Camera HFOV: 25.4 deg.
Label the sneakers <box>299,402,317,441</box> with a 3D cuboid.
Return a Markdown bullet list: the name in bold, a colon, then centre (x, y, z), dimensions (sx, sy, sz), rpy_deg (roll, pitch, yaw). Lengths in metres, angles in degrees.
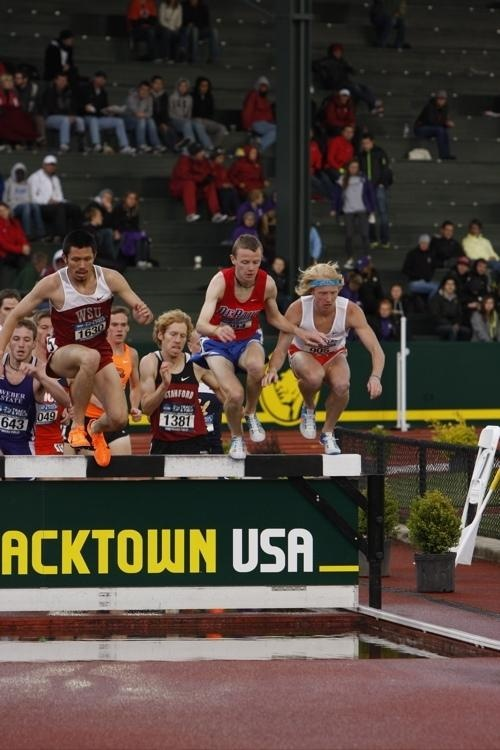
- **sneakers**: centre (0.416, 0.299, 7.457), dimensions (0.107, 0.121, 0.302), rpy_deg (6, 35, -14)

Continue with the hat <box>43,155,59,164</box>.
- **hat**: centre (-3.396, -3.711, 18.999), dimensions (0.240, 0.187, 0.376), rpy_deg (7, 3, -14)

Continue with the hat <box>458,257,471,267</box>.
- **hat**: centre (3.809, -2.014, 19.685), dimensions (0.171, 0.167, 0.214), rpy_deg (16, 15, 0)

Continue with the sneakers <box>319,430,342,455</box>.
- **sneakers**: centre (0.532, 0.454, 7.243), dimensions (0.087, 0.091, 0.252), rpy_deg (-2, 7, -12)

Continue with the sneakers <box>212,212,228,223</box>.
- **sneakers**: centre (-0.556, -2.934, 20.705), dimensions (0.274, 0.254, 0.295), rpy_deg (2, 21, -2)

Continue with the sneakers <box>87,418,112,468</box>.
- **sneakers**: centre (-0.885, 0.376, 6.728), dimensions (0.126, 0.349, 0.140), rpy_deg (-13, -20, -12)

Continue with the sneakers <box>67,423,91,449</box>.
- **sneakers**: centre (-1.027, 0.373, 6.747), dimensions (0.088, 0.107, 0.243), rpy_deg (-3, 5, -21)

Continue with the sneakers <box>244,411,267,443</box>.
- **sneakers**: centre (0.042, 0.323, 7.178), dimensions (0.107, 0.113, 0.283), rpy_deg (-16, 63, -4)

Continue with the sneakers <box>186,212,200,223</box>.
- **sneakers**: centre (-1.064, -2.955, 20.800), dimensions (0.221, 0.241, 0.359), rpy_deg (3, 21, 1)

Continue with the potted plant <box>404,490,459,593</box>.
- **potted plant**: centre (1.409, 1.345, 8.560), dimensions (0.408, 0.707, 0.647), rpy_deg (5, 21, 8)

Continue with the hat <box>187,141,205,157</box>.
- **hat**: centre (-0.998, -4.089, 20.246), dimensions (0.313, 0.255, 0.499), rpy_deg (0, 20, -6)
